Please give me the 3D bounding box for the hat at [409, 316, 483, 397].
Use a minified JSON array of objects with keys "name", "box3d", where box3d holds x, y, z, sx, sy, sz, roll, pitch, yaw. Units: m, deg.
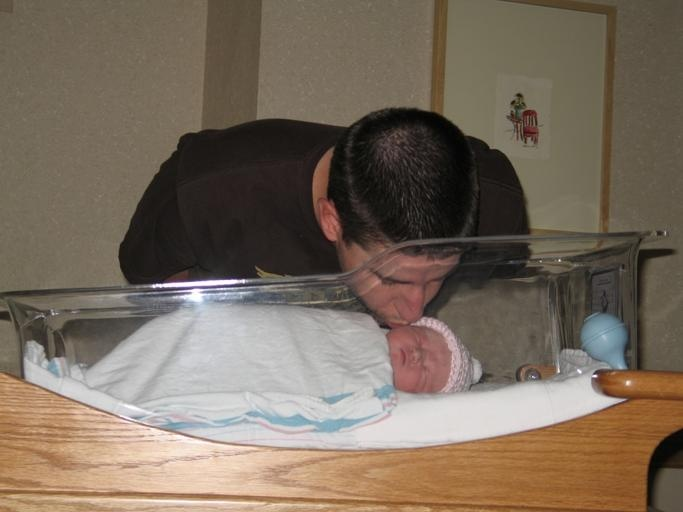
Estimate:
[{"name":"hat","box3d":[0.278,0.263,1.989,0.172,0.225,0.250,-2,2,32]}]
